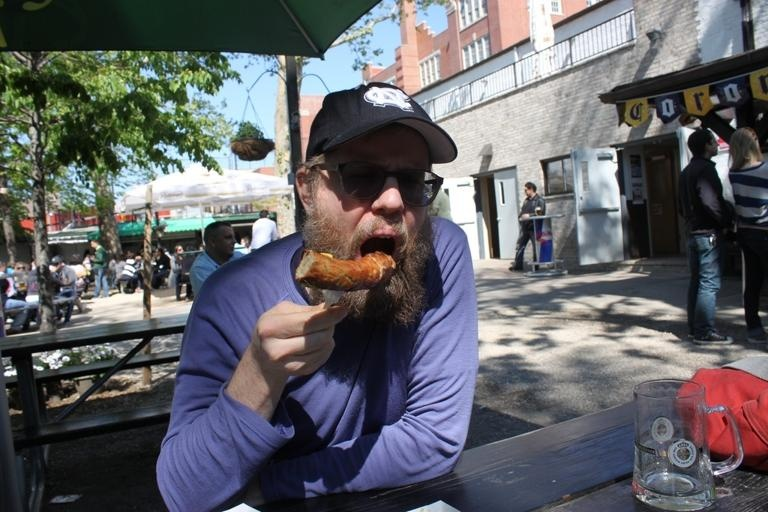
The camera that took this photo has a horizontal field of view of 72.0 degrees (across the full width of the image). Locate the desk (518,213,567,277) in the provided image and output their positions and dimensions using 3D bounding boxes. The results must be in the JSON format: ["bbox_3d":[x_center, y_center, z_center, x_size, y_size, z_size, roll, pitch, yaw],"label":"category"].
[{"bbox_3d":[4.606,-0.269,15.262,1.637,1.920,1.706,-2,-2,9],"label":"desk"}]

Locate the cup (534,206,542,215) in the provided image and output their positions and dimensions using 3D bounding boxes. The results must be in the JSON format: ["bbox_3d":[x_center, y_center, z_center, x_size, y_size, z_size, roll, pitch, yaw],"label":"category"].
[{"bbox_3d":[4.320,-1.278,14.766,0.209,0.217,0.201,0,2,0],"label":"cup"}]

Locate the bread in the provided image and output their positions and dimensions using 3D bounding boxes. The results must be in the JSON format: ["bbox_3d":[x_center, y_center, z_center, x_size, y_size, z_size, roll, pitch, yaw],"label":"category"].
[{"bbox_3d":[-0.096,0.050,2.290,0.545,0.183,0.156,1,-38,-39],"label":"bread"}]

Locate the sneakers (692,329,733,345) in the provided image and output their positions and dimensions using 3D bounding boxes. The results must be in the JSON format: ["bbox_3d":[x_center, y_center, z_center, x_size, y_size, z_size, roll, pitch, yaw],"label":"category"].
[{"bbox_3d":[4.235,1.026,6.824,0.393,0.163,0.197,-4,-4,16],"label":"sneakers"}]
